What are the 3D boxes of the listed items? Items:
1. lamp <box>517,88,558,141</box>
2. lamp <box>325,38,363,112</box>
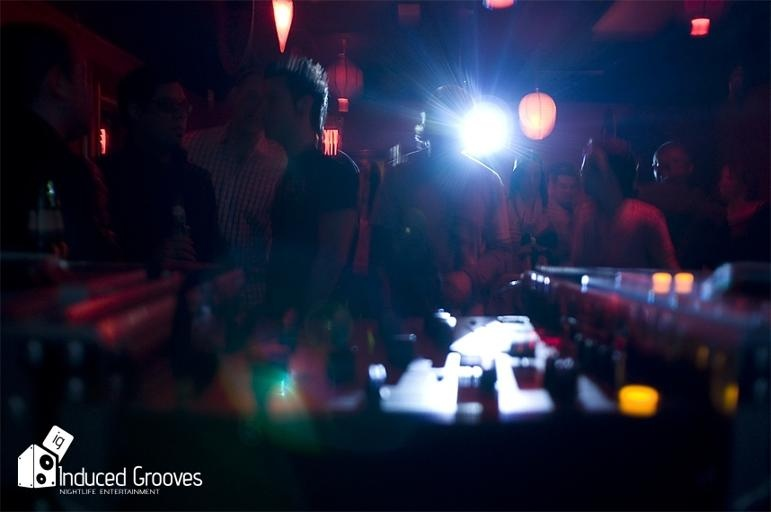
[{"bbox_3d":[1.303,-1.187,5.182,0.347,0.431,0.354,-3,5,-5],"label":"lamp"},{"bbox_3d":[-0.363,-1.598,5.315,0.264,0.626,0.270,-3,-5,44],"label":"lamp"}]
